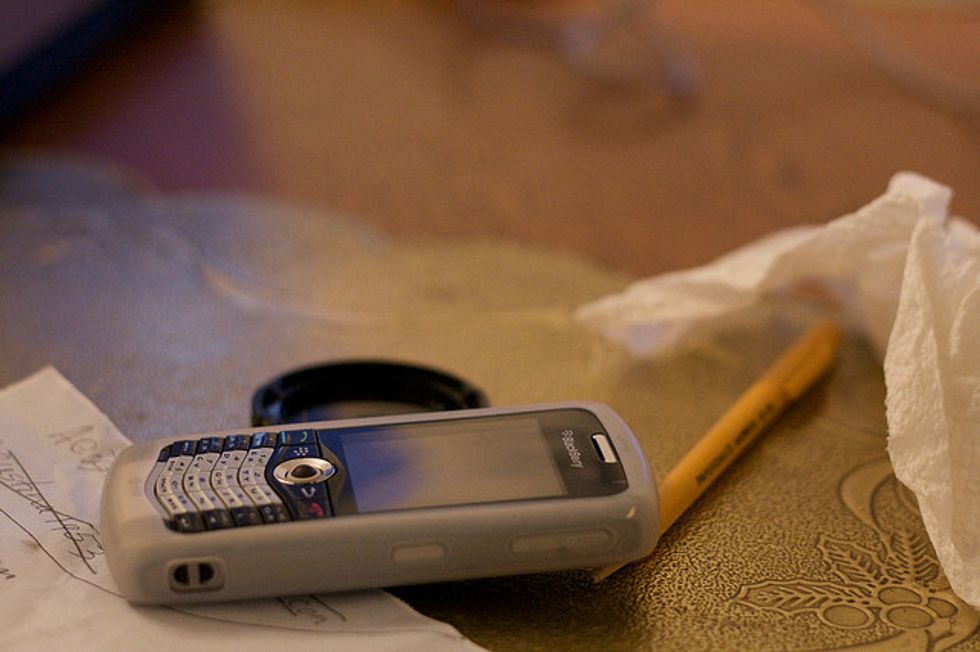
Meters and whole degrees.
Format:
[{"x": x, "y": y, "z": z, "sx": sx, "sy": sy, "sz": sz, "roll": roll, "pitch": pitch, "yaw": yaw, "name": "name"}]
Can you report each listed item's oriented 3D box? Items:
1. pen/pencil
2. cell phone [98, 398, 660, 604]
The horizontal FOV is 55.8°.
[{"x": 0.135, "y": 0.077, "z": 0.539, "sx": 0.210, "sy": 0.022, "sz": 0.023, "roll": -40, "pitch": 104, "yaw": -28, "name": "pen/pencil"}, {"x": -0.049, "y": 0.084, "z": 0.473, "sx": 0.254, "sy": 0.048, "sz": 0.107, "roll": -4, "pitch": 31, "yaw": -7, "name": "cell phone"}]
